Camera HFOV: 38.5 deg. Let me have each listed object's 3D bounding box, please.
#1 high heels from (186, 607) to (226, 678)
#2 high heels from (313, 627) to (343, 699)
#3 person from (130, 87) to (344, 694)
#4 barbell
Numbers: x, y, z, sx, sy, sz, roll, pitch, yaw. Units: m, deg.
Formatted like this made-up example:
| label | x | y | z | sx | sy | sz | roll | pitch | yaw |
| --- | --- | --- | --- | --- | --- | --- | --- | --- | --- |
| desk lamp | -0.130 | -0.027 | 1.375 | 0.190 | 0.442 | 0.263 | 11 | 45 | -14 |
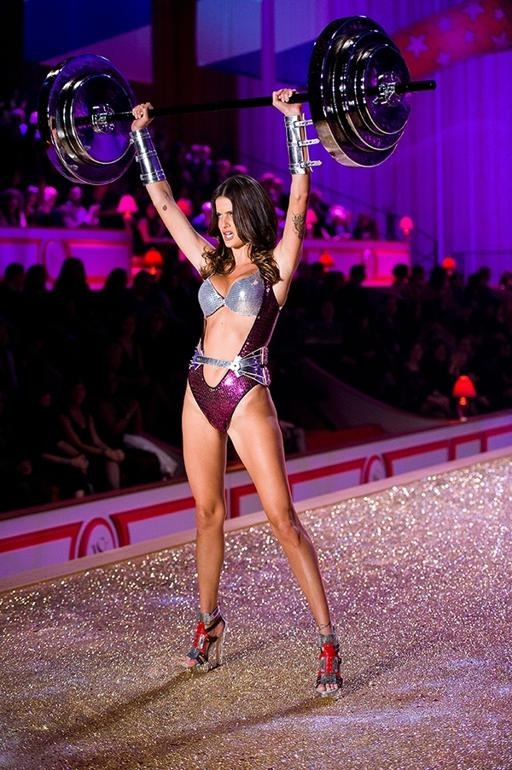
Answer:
| label | x | y | z | sx | sy | sz | roll | pitch | yaw |
| --- | --- | --- | --- | --- | --- | --- | --- | --- | --- |
| high heels | -0.096 | 0.518 | 1.487 | 0.085 | 0.110 | 0.118 | 6 | 18 | 8 |
| high heels | 0.136 | 0.513 | 1.362 | 0.044 | 0.076 | 0.117 | -2 | 12 | 6 |
| person | -0.020 | 0.019 | 1.444 | 0.317 | 0.979 | 0.571 | 0 | 10 | 7 |
| barbell | -0.059 | -0.607 | 1.606 | 0.911 | 0.270 | 0.294 | -1 | 3 | 13 |
